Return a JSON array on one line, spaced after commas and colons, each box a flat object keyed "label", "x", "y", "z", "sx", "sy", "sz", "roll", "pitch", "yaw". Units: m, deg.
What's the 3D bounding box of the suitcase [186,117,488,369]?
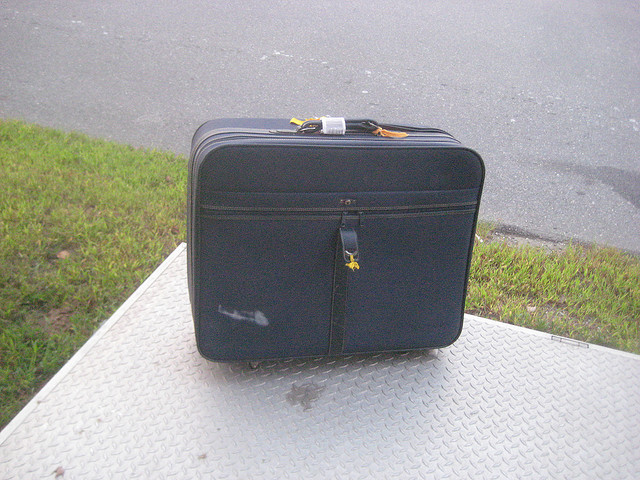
[{"label": "suitcase", "x": -0.009, "y": 0.031, "z": 1.758, "sx": 0.864, "sy": 0.672, "sz": 0.522, "roll": 1, "pitch": 7, "yaw": -21}]
